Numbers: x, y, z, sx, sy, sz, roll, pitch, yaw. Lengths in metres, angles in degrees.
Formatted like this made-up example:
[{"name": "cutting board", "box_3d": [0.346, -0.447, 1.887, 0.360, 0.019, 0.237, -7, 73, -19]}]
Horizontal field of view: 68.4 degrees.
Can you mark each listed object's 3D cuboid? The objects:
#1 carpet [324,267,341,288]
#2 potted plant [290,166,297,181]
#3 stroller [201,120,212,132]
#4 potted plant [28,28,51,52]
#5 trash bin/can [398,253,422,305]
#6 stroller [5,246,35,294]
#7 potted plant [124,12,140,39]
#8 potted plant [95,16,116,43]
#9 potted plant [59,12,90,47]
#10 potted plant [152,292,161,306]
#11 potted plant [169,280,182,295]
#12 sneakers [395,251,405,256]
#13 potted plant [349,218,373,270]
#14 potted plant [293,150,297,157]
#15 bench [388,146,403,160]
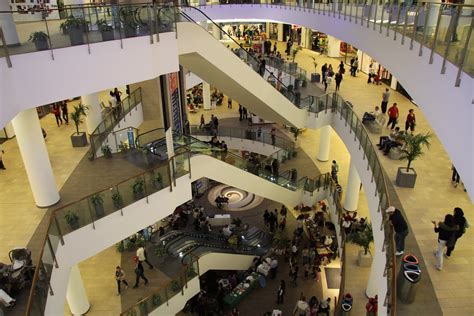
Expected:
[{"name": "carpet", "box_3d": [4.867, 6.096, 17.761, 0.622, 0.195, 0.932, 8, 42, -3]}, {"name": "potted plant", "box_3d": [3.196, 0.958, 19.493, 0.222, 0.982, 0.518, -2, 14, -6]}, {"name": "stroller", "box_3d": [-2.080, -2.137, 23.248, 0.756, 0.447, 0.540, 4, 55, -6]}, {"name": "potted plant", "box_3d": [-5.422, -3.200, 9.629, 0.470, 0.519, 0.523, 40, 49, 18]}, {"name": "trash bin/can", "box_3d": [4.354, 3.093, 8.871, 0.466, 0.974, 0.647, 7, 24, 19]}, {"name": "stroller", "box_3d": [-5.640, 2.870, 8.976, 0.676, 0.710, 0.934, -12, 25, -24]}, {"name": "potted plant", "box_3d": [-3.372, -4.163, 10.899, 0.152, 0.747, 0.442, 16, 28, 36]}, {"name": "potted plant", "box_3d": [-3.974, -3.852, 10.607, 0.411, 0.608, 0.389, -10, 12, 3]}, {"name": "potted plant", "box_3d": [-4.628, -3.777, 10.157, 0.526, 0.606, 0.498, -2, 35, 28]}, {"name": "potted plant", "box_3d": [-3.306, 5.669, 14.063, 0.361, 0.473, 0.420, -9, 40, -16]}, {"name": "potted plant", "box_3d": [-2.639, 5.463, 14.801, 0.525, 0.577, 0.565, -4, 46, -8]}, {"name": "sneakers", "box_3d": [4.506, 2.636, 9.662, 0.319, 0.147, 0.117, -3, 44, 10]}, {"name": "potted plant", "box_3d": [5.805, 3.817, 15.795, 1.251, 2.032, 1.397, 0, 6, 4]}, {"name": "potted plant", "box_3d": [3.618, -0.273, 21.978, 0.290, 0.296, 0.247, -23, 36, -32]}, {"name": "bench", "box_3d": [6.051, -0.168, 13.364, 0.467, 0.416, 0.376, 3, 34, 6]}]
